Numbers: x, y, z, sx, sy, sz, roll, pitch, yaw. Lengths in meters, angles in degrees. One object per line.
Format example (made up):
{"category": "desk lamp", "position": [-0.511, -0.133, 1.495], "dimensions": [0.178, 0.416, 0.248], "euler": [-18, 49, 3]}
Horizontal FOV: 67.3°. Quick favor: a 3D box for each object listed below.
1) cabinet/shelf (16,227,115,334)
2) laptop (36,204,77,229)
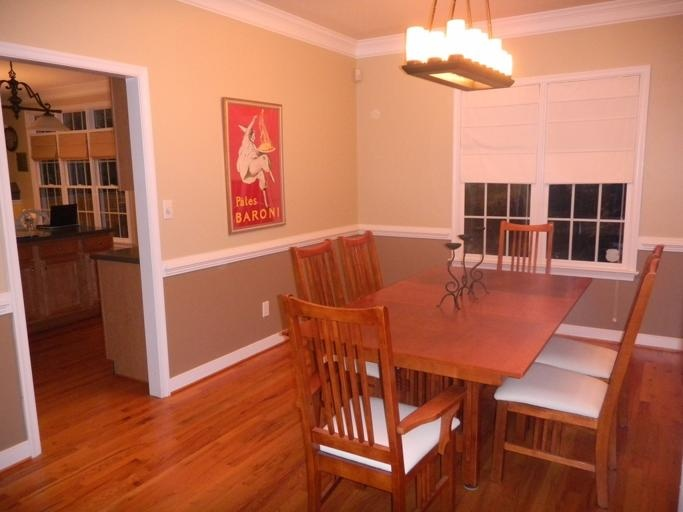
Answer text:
{"category": "cabinet/shelf", "position": [-2.836, 0.258, 5.224], "dimensions": [0.599, 0.982, 1.032], "euler": [3, 8, 31]}
{"category": "laptop", "position": [-3.331, -0.473, 6.042], "dimensions": [0.284, 0.288, 0.411], "euler": [12, 10, 38]}
